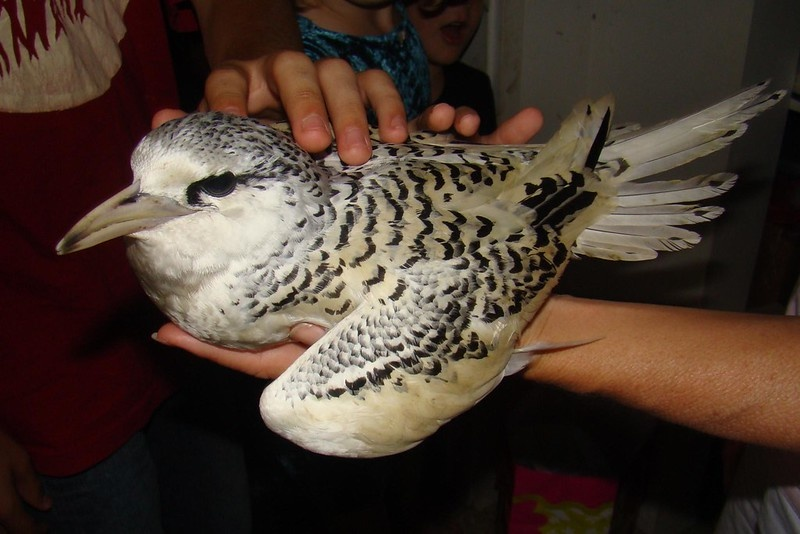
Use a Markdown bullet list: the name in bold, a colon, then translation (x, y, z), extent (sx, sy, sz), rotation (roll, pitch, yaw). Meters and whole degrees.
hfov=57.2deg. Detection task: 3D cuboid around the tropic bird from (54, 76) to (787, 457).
- **tropic bird**: translation (0.017, -0.035, 2.386), extent (1.833, 0.967, 0.840), rotation (-19, 39, -23)
